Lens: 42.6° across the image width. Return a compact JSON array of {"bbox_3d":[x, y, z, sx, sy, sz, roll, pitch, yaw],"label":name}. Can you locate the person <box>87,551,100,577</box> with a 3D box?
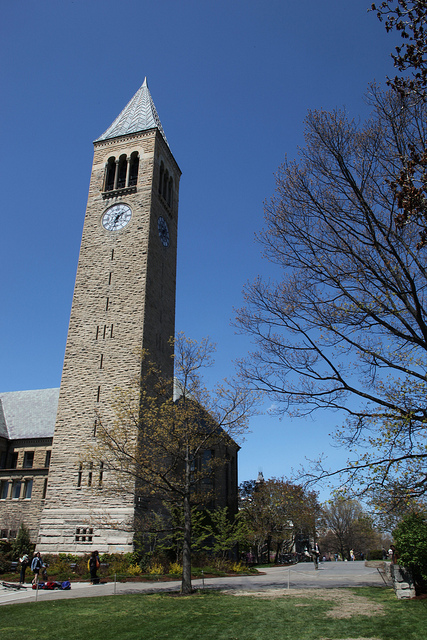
[{"bbox_3d":[-5.381,10.947,24.542,0.399,1.061,1.469,4,-26,-12],"label":"person"}]

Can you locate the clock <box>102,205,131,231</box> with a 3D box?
[{"bbox_3d":[-6.880,-7.267,39.074,2.203,2.137,0.137,-9,-34,32],"label":"clock"}]
